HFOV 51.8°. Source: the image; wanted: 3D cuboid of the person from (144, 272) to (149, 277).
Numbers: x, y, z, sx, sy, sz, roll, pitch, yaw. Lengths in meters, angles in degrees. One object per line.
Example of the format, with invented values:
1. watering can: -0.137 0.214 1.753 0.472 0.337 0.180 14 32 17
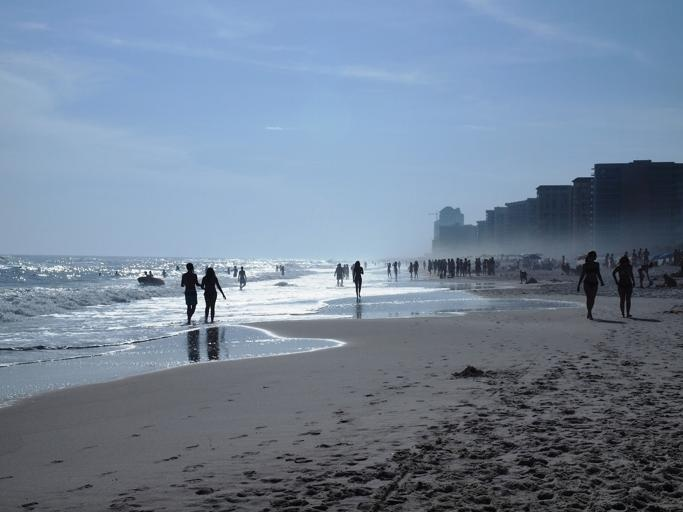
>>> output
1. person: -22.023 1.968 79.357 0.468 0.373 0.770 -2 -6 -19
